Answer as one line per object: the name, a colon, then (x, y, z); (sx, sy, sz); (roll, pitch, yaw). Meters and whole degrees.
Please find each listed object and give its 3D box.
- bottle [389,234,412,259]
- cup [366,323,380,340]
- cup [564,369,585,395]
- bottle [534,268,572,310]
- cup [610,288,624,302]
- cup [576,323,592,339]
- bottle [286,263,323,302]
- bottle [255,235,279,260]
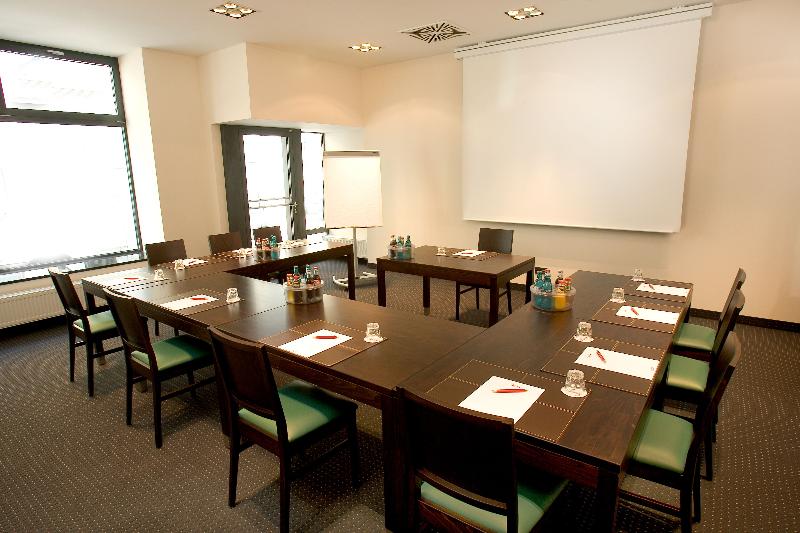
bottle: (0.039, -0.233, 6.337); (0.254, 0.334, 0.321); (1, 3, 8)
cup: (-0.204, 0.514, 4.054); (0.118, 0.080, 0.117); (0, 13, 0)
cup: (1.190, 0.775, 3.539); (0.149, 0.130, 0.157); (0, 5, 0)
bottle: (1.364, 0.195, 4.642); (0.359, 0.328, 0.353); (-12, 15, -39)
cup: (1.959, 0.258, 4.685); (0.124, 0.116, 0.125); (-1, 9, 0)
cup: (1.450, 0.514, 4.077); (0.125, 0.112, 0.127); (-3, 10, 0)
bottle: (-0.889, 0.136, 4.779); (0.340, 0.304, 0.329); (-1, 9, -3)
bottle: (-1.598, -0.227, 6.221); (0.225, 0.307, 0.318); (2, 3, 30)
